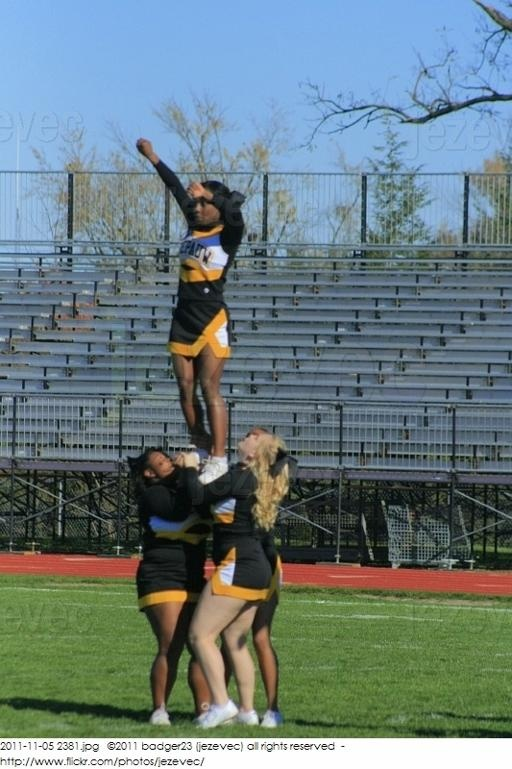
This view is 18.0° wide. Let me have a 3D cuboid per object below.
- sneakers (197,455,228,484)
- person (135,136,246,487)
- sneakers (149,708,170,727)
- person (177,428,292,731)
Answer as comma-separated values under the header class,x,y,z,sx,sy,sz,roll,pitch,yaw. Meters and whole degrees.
class,x,y,z,sx,sy,sz,roll,pitch,yaw
sneakers,-0.315,0.570,11.036,0.093,0.125,0.288,7,33,22
person,-0.413,-0.511,11.250,0.657,2.206,1.008,-1,9,-2
sneakers,-0.635,2.165,10.518,0.138,0.122,0.202,-1,10,-2
person,-0.121,1.266,10.454,0.732,1.865,0.479,-4,10,-20
